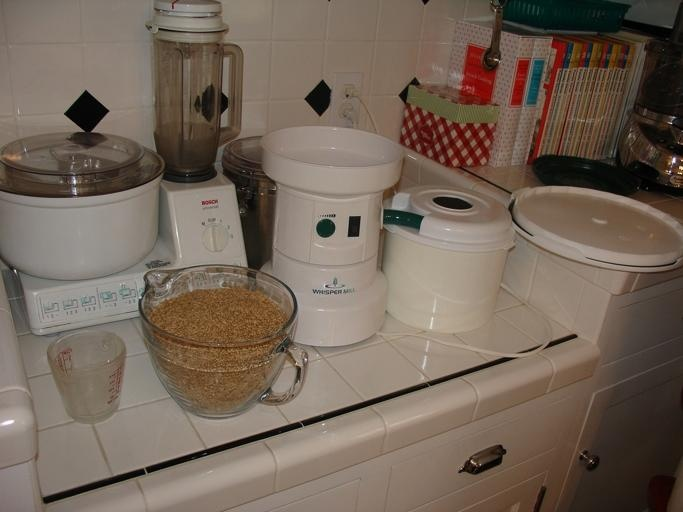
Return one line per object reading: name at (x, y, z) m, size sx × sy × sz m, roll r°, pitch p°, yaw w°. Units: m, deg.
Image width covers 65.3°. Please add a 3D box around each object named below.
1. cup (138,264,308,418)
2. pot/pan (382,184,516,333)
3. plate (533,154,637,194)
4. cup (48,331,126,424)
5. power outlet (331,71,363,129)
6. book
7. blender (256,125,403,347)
cup at (-0.206, 0.122, 0.900) m, size 0.271 × 0.190 × 0.226 m, roll 25°, pitch 26°, yaw 22°
pot/pan at (0.226, 0.011, 1.191) m, size 0.276 × 0.253 × 0.275 m, roll 30°, pitch 42°, yaw 33°
plate at (0.640, -0.216, 1.413) m, size 0.253 × 0.048 × 0.194 m, roll 0°, pitch 28°, yaw -5°
cup at (-0.416, 0.182, 0.910) m, size 0.124 × 0.145 × 0.139 m, roll -8°, pitch 22°, yaw -29°
power outlet at (0.017, -0.416, 1.419) m, size 0.094 × 0.146 × 0.024 m, roll -19°, pitch 33°, yaw -36°
book at (0.590, -0.477, 1.560) m, size 0.541 × 0.366 × 0.214 m, roll -8°, pitch 28°, yaw -20°
blender at (-0.027, -0.044, 1.062) m, size 0.257 × 0.366 × 0.259 m, roll -17°, pitch 31°, yaw -36°
